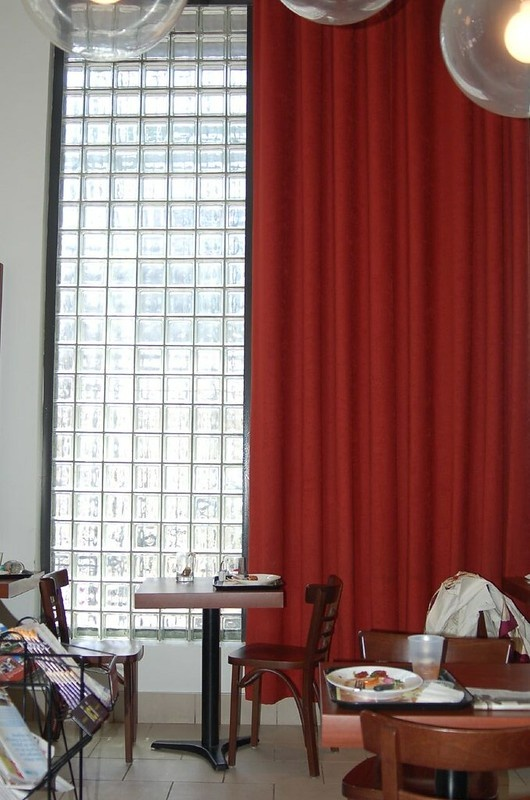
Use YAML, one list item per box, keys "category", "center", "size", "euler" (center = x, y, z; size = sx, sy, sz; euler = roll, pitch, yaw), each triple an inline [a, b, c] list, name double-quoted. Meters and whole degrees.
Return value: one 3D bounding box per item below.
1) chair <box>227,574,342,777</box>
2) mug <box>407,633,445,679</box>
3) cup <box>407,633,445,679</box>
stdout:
- category: "chair"
  center: [0.065, 0.989, 2.916]
  size: [0.404, 0.672, 0.740]
  euler: [0, -5, 2]
- category: "mug"
  center: [0.322, 0.522, 1.613]
  size: [0.083, 0.102, 0.091]
  euler: [-1, -11, -1]
- category: "cup"
  center: [0.313, 0.522, 1.612]
  size: [0.083, 0.102, 0.091]
  euler: [-1, -11, 0]
